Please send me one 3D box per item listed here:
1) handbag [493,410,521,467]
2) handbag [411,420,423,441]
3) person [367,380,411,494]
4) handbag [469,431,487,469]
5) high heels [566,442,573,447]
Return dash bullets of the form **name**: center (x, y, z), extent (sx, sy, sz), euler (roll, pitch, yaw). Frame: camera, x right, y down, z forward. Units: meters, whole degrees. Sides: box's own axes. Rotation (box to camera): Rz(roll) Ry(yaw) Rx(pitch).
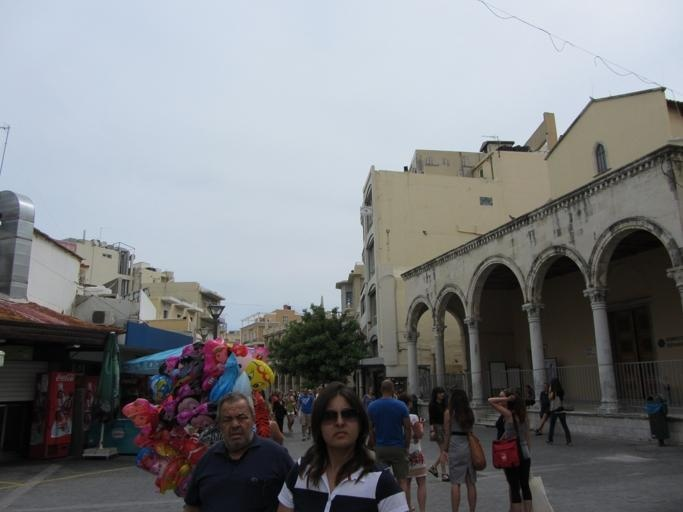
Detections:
- **handbag**: center (2.358, 2.690, 7.006), extent (0.465, 0.709, 0.389), euler (-20, -55, 29)
- **handbag**: center (1.181, 2.759, 7.671), extent (0.197, 0.349, 0.300), euler (-4, -15, 5)
- **person**: center (0.779, 2.909, 7.509), extent (0.594, 2.037, 0.547), euler (-2, 4, 18)
- **handbag**: center (2.098, 3.032, 7.494), extent (0.202, 0.578, 0.649), euler (-6, -17, 14)
- **high heels**: center (6.528, 5.380, 13.839), extent (0.181, 0.134, 0.064), euler (-3, -15, 5)
